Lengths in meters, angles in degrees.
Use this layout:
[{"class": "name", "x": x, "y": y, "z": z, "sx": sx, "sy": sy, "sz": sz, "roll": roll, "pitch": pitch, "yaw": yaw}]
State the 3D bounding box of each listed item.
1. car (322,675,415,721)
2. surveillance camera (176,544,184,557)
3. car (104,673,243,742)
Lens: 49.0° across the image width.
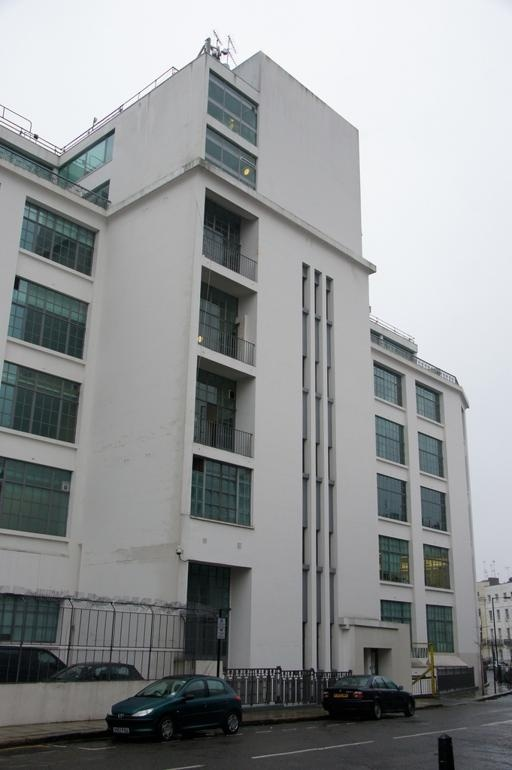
[{"class": "car", "x": 3.560, "y": 10.147, "z": 18.182, "sx": 1.390, "sy": 1.264, "sz": 3.186, "roll": -19, "pitch": -30, "yaw": 41}, {"class": "surveillance camera", "x": -2.760, "y": 6.068, "z": 20.459, "sx": 0.229, "sy": 0.415, "sz": 0.362, "roll": -1, "pitch": -8, "yaw": -2}, {"class": "car", "x": -1.722, "y": 6.735, "z": 11.613, "sx": 1.448, "sy": 1.296, "sz": 2.535, "roll": -21, "pitch": -36, "yaw": 37}]
